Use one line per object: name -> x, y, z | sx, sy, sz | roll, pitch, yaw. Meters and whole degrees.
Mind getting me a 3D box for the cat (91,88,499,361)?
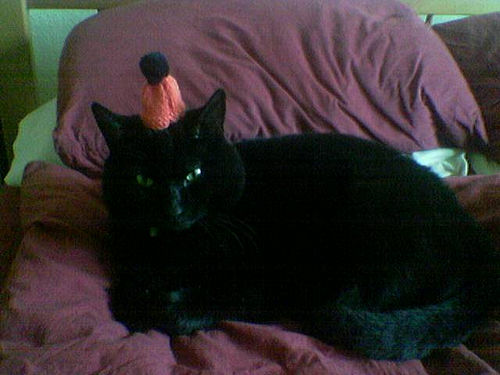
cat -> 0.114, 0.106, 1.492 | 0.872, 0.538, 0.600 | -6, 10, -8
